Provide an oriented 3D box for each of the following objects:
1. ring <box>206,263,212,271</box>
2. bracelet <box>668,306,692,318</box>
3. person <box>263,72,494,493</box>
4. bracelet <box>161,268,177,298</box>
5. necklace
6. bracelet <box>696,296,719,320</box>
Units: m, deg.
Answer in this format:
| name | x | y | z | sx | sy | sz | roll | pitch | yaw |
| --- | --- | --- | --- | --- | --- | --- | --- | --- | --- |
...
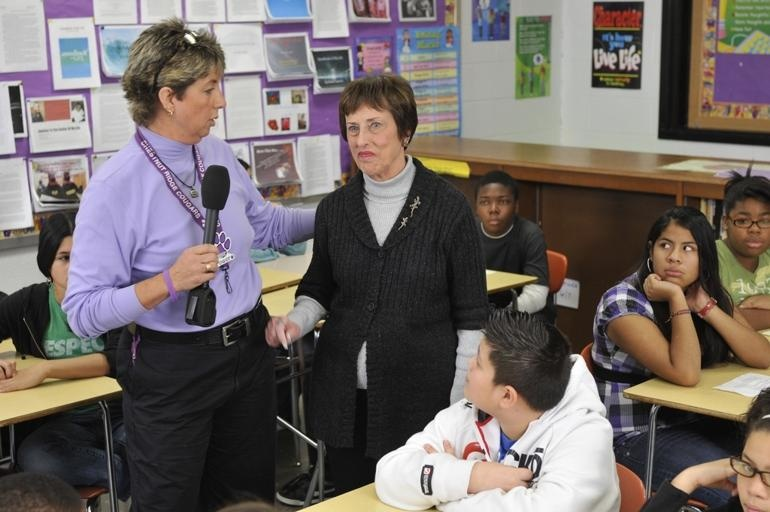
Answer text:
| name | x | y | z | sx | sy | sz | roll | pitch | yaw |
| --- | --- | --- | --- | --- | --- | --- | --- | --- | --- |
| ring | -0.534 | 0.033 | 1.745 | 0.018 | 0.020 | 0.019 | -1 | 11 | 0 |
| bracelet | 1.275 | 0.243 | 2.464 | 0.070 | 0.043 | 0.040 | 0 | 11 | 20 |
| person | -0.012 | 0.307 | 2.056 | 0.658 | 1.813 | 0.610 | 4 | 12 | 12 |
| bracelet | -0.654 | 0.081 | 1.751 | 0.016 | 0.065 | 0.067 | -29 | -18 | -5 |
| necklace | -0.742 | -0.310 | 1.961 | 0.063 | 0.273 | 0.159 | -30 | 3 | 46 |
| bracelet | 1.436 | 0.228 | 2.548 | 0.082 | 0.023 | 0.080 | -49 | -3 | 37 |
